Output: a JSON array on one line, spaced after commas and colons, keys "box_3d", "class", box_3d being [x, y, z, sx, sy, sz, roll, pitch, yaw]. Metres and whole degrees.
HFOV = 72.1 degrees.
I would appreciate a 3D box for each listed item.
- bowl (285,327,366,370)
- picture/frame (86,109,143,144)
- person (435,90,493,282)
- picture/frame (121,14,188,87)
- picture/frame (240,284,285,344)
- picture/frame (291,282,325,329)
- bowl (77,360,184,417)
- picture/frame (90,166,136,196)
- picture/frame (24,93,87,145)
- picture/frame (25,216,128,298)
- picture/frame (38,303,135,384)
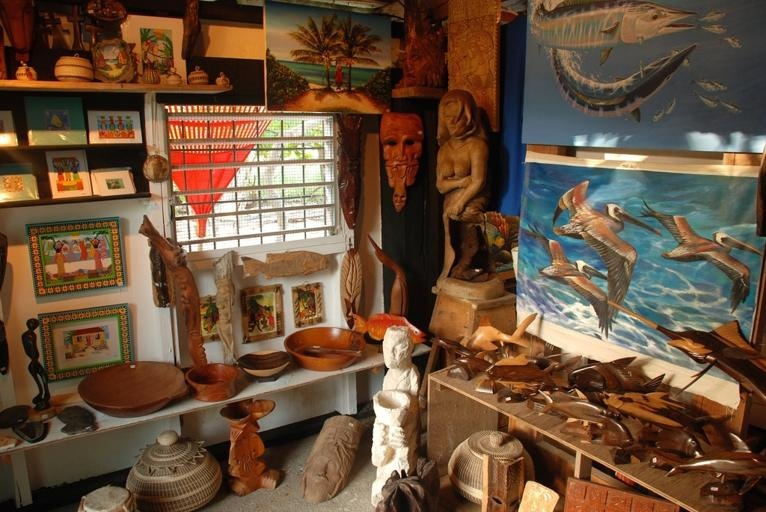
[{"box_3d": [-0.449, 0.711, 4.026, 0.596, 0.138, 0.572, 3, 16, -1], "class": "bowl"}, {"box_3d": [-1.751, -0.820, 3.459, 0.382, 0.248, 0.020, 2, 11, 12], "class": "picture/frame"}, {"box_3d": [0.598, -0.493, 3.871, 0.391, 1.350, 0.272, -4, 10, 13], "class": "person"}, {"box_3d": [-1.489, -1.330, 3.447, 0.377, 0.422, 0.148, -8, 10, -17], "class": "picture/frame"}, {"box_3d": [-0.954, 0.439, 4.081, 0.468, 0.550, 0.061, -6, 16, -31], "class": "picture/frame"}, {"box_3d": [-0.616, 0.394, 4.236, 0.376, 0.404, 0.045, -6, 10, -37], "class": "picture/frame"}, {"box_3d": [-1.658, 0.877, 3.503, 0.624, 0.246, 0.428, -10, 10, -31], "class": "bowl"}, {"box_3d": [-1.795, -0.475, 3.463, 0.205, 0.139, 0.028, -12, 3, -31], "class": "picture/frame"}, {"box_3d": [-2.079, -0.844, 3.302, 0.349, 0.305, 0.034, -6, 9, -30], "class": "picture/frame"}, {"box_3d": [-2.065, 0.004, 3.485, 0.559, 0.486, 0.041, -6, 9, -25], "class": "picture/frame"}, {"box_3d": [-2.040, 0.594, 3.561, 0.551, 0.416, 0.038, -9, 12, -22], "class": "picture/frame"}]
